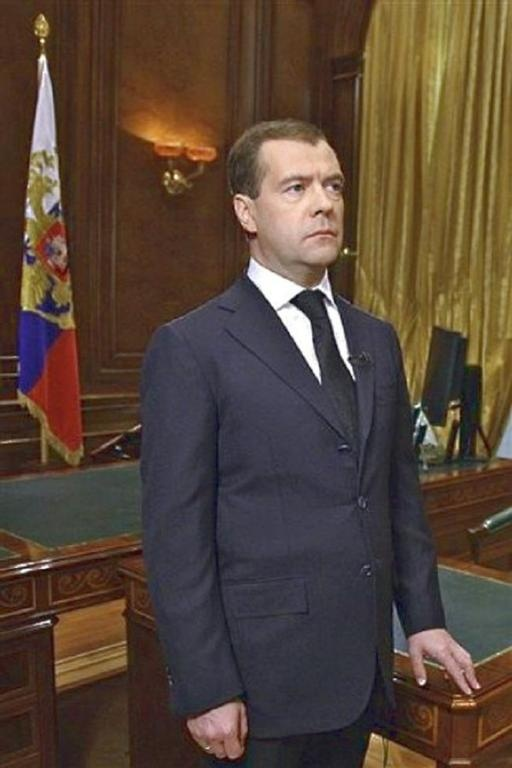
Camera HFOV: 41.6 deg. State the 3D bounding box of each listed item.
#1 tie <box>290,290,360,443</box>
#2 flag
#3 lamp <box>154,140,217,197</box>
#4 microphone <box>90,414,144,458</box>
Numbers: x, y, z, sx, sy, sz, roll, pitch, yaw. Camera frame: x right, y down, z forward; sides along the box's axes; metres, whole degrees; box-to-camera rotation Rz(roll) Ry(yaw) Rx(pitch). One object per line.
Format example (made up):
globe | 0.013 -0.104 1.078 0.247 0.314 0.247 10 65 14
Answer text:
tie | 0.091 -0.036 0.985 0.064 0.035 0.251 15 41 -31
flag | -1.006 -0.601 3.245 0.271 2.000 0.524 -2 6 -17
lamp | -0.533 -1.558 4.902 0.438 0.410 0.249 9 14 2
microphone | -0.744 0.275 3.517 0.370 0.156 0.123 -31 -1 38
